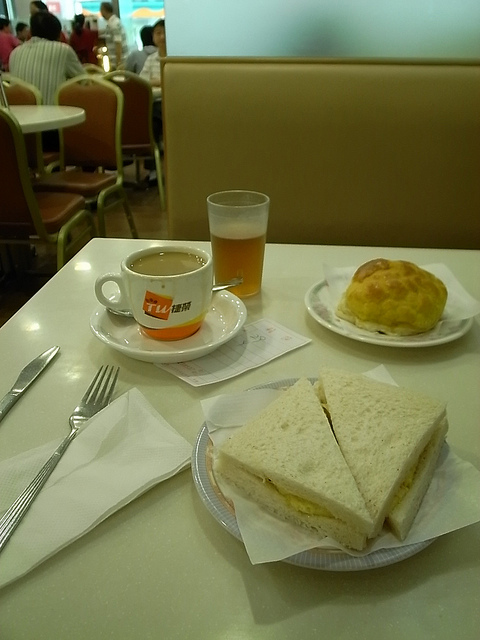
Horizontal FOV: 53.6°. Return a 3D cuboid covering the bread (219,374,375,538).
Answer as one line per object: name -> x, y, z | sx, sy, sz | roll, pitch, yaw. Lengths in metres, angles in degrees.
bread -> 0.053, 0.106, 0.341 | 0.097, 0.029, 0.125 | -32, 37, -16

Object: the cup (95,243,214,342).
cup -> -0.101, -0.028, 0.579 | 0.139, 0.092, 0.112 | -2, 28, -5

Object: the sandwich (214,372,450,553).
sandwich -> 0.062, 0.089, 0.339 | 0.112, 0.033, 0.113 | 20, 41, 32

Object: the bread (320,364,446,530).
bread -> 0.101, 0.092, 0.361 | 0.068, 0.023, 0.090 | 10, 38, 15

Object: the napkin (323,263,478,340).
napkin -> 0.254, -0.021, 0.631 | 0.139, 0.028, 0.132 | 19, 37, 30

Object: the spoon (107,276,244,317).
spoon -> -0.086, -0.043, 0.625 | 0.128, 0.018, 0.081 | -14, 27, 6

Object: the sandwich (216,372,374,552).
sandwich -> 0.023, 0.120, 0.356 | 0.080, 0.033, 0.141 | 3, 2, -15
